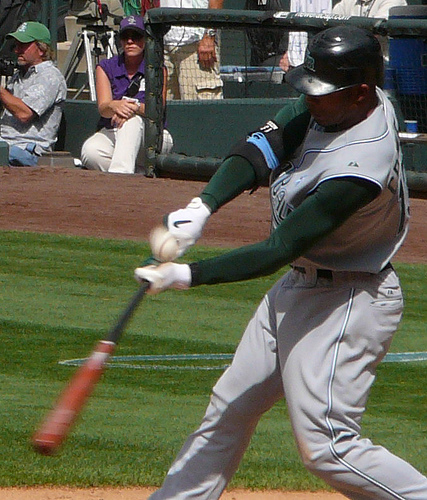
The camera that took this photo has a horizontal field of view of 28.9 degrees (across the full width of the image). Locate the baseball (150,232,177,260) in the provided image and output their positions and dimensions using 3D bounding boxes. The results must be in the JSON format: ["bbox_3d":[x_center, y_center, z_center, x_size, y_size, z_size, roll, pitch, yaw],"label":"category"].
[{"bbox_3d":[-0.134,-0.013,2.241,0.063,0.062,0.065,4,-18,-13],"label":"baseball"}]

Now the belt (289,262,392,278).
[{"bbox_3d":[0.349,0.056,2.322,0.142,0.042,0.091,0,9,-9],"label":"belt"}]

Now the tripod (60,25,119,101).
[{"bbox_3d":[-1.336,-2.208,9.138,0.761,0.625,0.586,-6,37,-23],"label":"tripod"}]

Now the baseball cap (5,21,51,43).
[{"bbox_3d":[-1.485,-1.794,6.727,0.339,0.131,0.206,-11,20,-38],"label":"baseball cap"}]

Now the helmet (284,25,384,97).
[{"bbox_3d":[0.326,-0.537,2.216,0.311,0.136,0.186,-7,43,0],"label":"helmet"}]

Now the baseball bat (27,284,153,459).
[{"bbox_3d":[-0.477,0.487,3.210,0.174,0.132,1.001,-17,20,37],"label":"baseball bat"}]

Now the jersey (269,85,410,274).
[{"bbox_3d":[0.352,-0.189,2.213,0.395,0.515,0.343,7,9,2],"label":"jersey"}]
